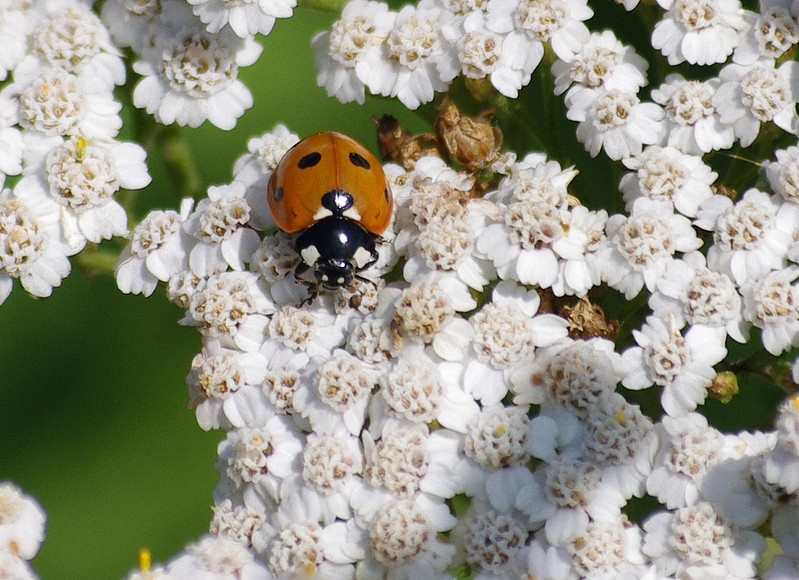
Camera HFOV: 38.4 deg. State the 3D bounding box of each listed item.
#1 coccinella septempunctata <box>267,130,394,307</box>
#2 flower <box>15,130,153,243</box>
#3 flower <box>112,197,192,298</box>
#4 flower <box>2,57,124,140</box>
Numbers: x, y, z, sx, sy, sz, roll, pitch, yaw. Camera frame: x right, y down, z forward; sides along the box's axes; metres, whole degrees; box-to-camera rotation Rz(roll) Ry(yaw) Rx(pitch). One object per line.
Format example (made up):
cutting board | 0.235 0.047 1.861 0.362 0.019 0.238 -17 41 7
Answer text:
coccinella septempunctata | -0.155 -0.210 2.697 0.282 0.231 0.460 -2 48 -13
flower | -0.727 -0.301 2.692 0.253 0.268 0.128 -5 89 -1
flower | -0.564 -0.092 2.664 0.190 0.076 0.188 -54 37 15
flower | -0.800 -0.440 2.701 0.292 0.060 0.190 15 80 3
